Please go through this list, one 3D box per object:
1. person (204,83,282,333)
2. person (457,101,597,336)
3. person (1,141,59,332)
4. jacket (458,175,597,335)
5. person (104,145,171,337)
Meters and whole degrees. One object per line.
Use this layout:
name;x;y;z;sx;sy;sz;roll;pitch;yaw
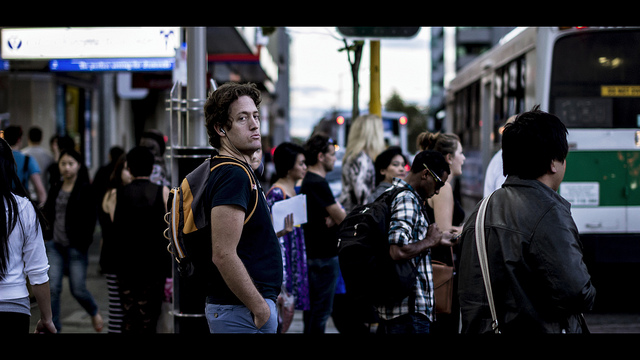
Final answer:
person;-0.936;0.335;12.323;0.905;3.000;0.436;0;0;-7
person;2.476;0.528;12.295;1.572;2.716;0.368;0;1;13
person;-3.683;0.701;12.752;0.614;2.366;0.237;-1;1;-15
jacket;2.457;1.055;12.352;1.107;2.270;1.277;0;-1;-10
person;-2.599;0.832;14.456;0.919;2.583;0.358;-1;1;-12
